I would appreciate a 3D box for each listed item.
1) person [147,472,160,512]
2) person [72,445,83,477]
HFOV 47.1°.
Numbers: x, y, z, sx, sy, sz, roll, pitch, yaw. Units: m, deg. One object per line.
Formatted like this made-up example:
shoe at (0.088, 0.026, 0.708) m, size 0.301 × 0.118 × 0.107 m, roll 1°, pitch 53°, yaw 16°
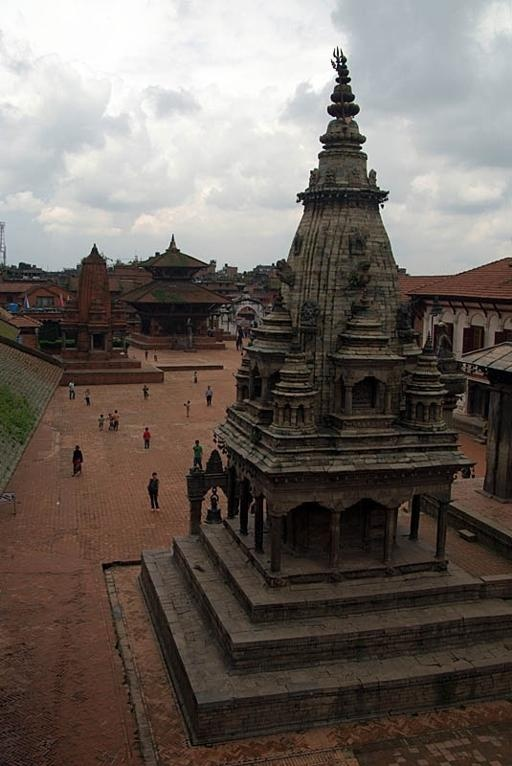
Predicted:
person at (-3.318, 3.432, 18.969) m, size 0.330 × 1.136 × 1.093 m, roll 2°, pitch 3°, yaw -9°
person at (-6.914, 2.949, 22.599) m, size 0.338 × 1.042 × 1.067 m, roll 2°, pitch 3°, yaw -17°
